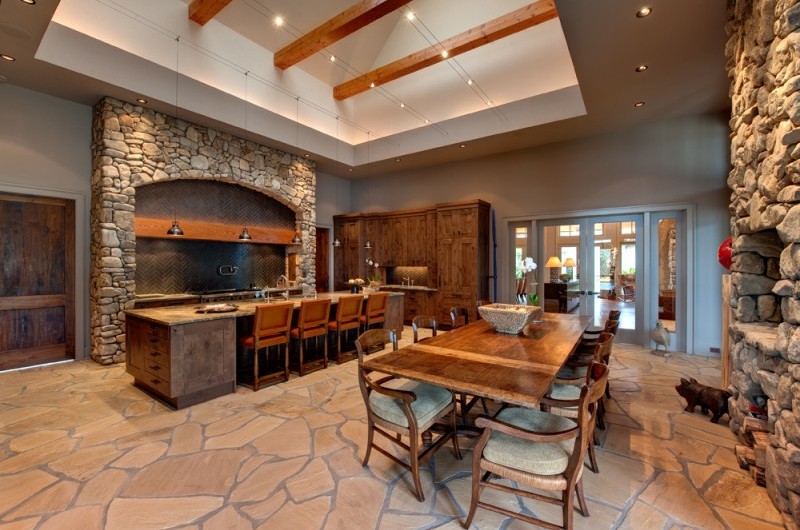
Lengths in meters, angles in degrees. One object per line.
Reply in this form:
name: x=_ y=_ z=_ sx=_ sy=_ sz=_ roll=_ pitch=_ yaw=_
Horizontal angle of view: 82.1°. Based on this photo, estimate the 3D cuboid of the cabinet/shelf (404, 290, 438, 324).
cabinet/shelf: x=0.554 y=1.010 z=11.093 sx=1.013 sy=0.908 sz=0.428 roll=0 pitch=0 yaw=36

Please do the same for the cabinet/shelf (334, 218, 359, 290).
cabinet/shelf: x=-1.412 y=-0.349 z=12.178 sx=0.276 sy=1.971 sz=0.904 roll=0 pitch=0 yaw=-42

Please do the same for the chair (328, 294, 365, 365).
chair: x=-1.084 y=1.060 z=8.262 sx=0.800 sy=1.060 sz=0.770 roll=-2 pitch=1 yaw=16

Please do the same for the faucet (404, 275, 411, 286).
faucet: x=0.186 y=0.385 z=11.826 sx=0.232 sy=0.202 sz=0.083 roll=0 pitch=0 yaw=32

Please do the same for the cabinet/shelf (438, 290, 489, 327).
cabinet/shelf: x=1.236 y=0.814 z=8.930 sx=0.835 sy=0.740 sz=0.292 roll=0 pitch=-20 yaw=12

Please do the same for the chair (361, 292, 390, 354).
chair: x=-0.626 y=0.975 z=8.751 sx=0.715 sy=0.939 sz=0.726 roll=-1 pitch=4 yaw=-27

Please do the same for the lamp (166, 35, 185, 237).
lamp: x=-3.947 y=-2.370 z=8.119 sx=0.148 sy=3.677 sz=0.593 roll=0 pitch=0 yaw=-24

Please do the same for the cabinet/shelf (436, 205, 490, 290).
cabinet/shelf: x=1.475 y=-0.162 z=10.569 sx=1.232 sy=2.481 sz=0.903 roll=1 pitch=3 yaw=33

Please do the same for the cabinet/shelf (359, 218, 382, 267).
cabinet/shelf: x=-0.650 y=-0.569 z=12.061 sx=0.127 sy=1.537 sz=0.374 roll=-21 pitch=11 yaw=-17

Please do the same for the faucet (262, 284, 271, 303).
faucet: x=-2.670 y=0.573 z=9.158 sx=0.258 sy=0.420 sz=0.178 roll=0 pitch=8 yaw=-23
